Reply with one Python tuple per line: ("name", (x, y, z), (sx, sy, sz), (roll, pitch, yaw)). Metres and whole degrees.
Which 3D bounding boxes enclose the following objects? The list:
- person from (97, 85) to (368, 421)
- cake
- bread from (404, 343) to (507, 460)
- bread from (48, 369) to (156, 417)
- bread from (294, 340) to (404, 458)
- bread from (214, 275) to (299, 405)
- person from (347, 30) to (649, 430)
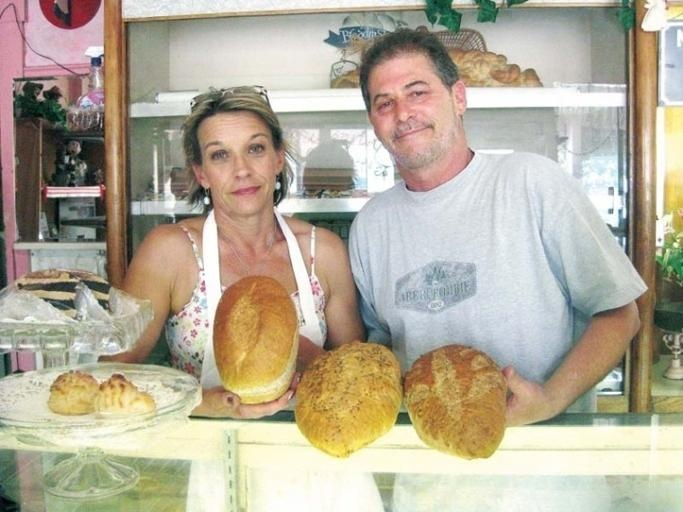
("person", (-0.166, -0.043, 2.649), (1.269, 1.190, 0.896), (-1, 4, -15))
("cake", (-0.646, 0.069, 1.589), (0.145, 0.039, 0.140), (10, 8, -10))
("bread", (0.245, 0.306, 1.471), (0.225, 0.180, 0.155), (-3, 2, 4))
("bread", (-0.518, 0.297, 1.487), (0.168, 0.050, 0.104), (3, 0, -2))
("bread", (0.014, 0.298, 1.452), (0.224, 0.194, 0.128), (-3, 2, -3))
("bread", (-0.178, 0.193, 1.585), (0.194, 0.267, 0.135), (1, -14, 9))
("person", (0.422, -0.165, 2.086), (0.493, 0.881, 0.856), (-4, 2, -33))
